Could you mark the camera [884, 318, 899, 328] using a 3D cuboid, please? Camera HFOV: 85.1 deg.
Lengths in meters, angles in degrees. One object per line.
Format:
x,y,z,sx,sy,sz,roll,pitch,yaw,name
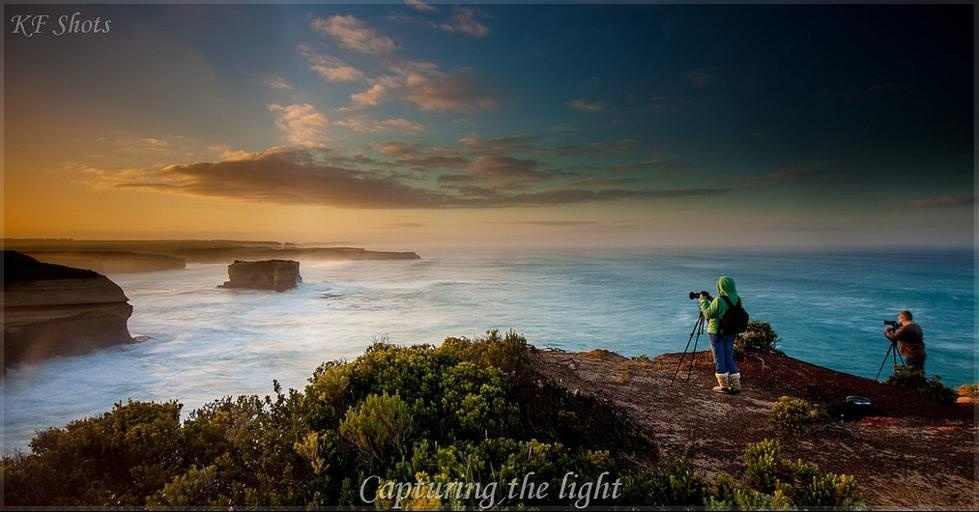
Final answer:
21.034,3.510,27.652,0.901,0.269,0.444,-3,-1,-7,camera
